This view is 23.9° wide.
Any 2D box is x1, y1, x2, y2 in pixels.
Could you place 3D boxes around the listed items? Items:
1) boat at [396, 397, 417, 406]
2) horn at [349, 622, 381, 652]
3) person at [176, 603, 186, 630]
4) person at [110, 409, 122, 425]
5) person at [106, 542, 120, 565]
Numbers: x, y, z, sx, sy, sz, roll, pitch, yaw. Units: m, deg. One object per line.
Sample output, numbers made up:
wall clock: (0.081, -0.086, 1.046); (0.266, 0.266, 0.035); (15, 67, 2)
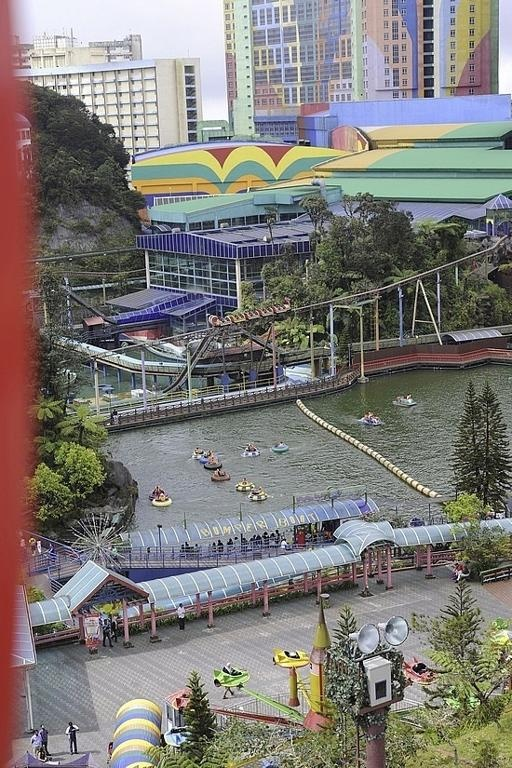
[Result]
boat: (6.487, 0.749, 52.579); (0.861, 0.317, 1.094); (-4, 8, -1)
horn: (0.994, 2.329, 10.831); (0.232, 0.281, 0.217); (-8, 10, -22)
person: (-1.663, 5.156, 26.835); (0.200, 0.525, 0.717); (-5, 9, -5)
person: (-5.809, 1.401, 50.142); (0.448, 0.471, 0.859); (-5, 9, -6)
person: (-3.527, 4.246, 29.894); (0.378, 0.385, 1.721); (-5, 9, -7)
